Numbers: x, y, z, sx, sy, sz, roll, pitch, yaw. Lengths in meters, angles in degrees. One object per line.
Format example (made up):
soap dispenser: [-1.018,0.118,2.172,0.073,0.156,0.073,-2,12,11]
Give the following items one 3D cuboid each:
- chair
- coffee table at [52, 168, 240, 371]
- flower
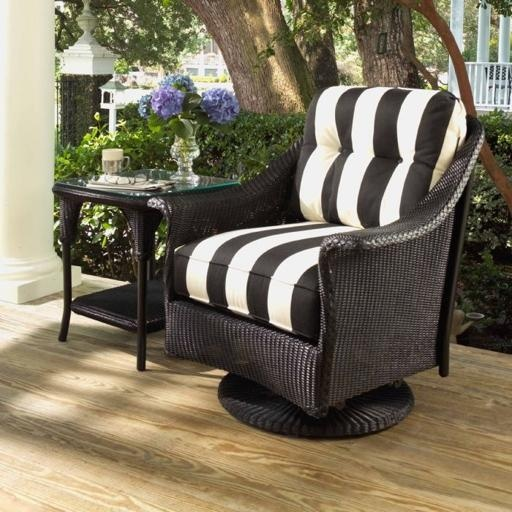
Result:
chair: [0.230,-0.036,1.904,1.066,0.947,0.961,-15,23,-13]
coffee table: [-0.572,-0.025,2.648,0.933,0.822,0.996,12,15,42]
flower: [-0.308,-0.616,2.411,0.463,0.239,0.401,1,11,-29]
